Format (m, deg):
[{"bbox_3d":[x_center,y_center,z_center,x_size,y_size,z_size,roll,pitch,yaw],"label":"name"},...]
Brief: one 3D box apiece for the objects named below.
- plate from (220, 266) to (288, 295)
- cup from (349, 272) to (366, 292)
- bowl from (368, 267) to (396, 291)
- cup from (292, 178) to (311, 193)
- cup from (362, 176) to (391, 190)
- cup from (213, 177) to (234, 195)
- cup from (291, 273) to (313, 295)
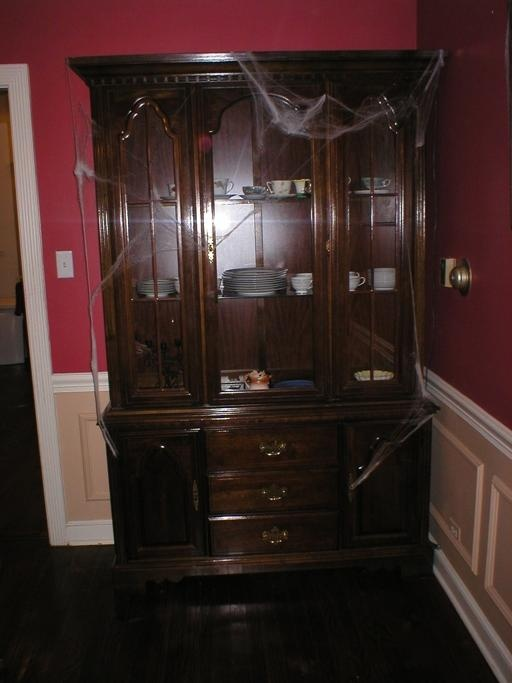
[{"bbox_3d":[-0.012,-0.202,1.999,0.122,0.054,0.129,5,15,22],"label":"plate"},{"bbox_3d":[0.322,-0.195,1.920,0.059,0.047,0.054,1,13,0],"label":"cup"},{"bbox_3d":[0.408,-0.207,1.920,0.075,0.056,0.075,-1,7,0],"label":"bowl"},{"bbox_3d":[0.148,-0.510,1.942,0.048,0.045,0.047,-2,13,0],"label":"cup"},{"bbox_3d":[0.379,-0.499,1.857,0.094,0.040,0.039,-2,9,-4],"label":"cup"},{"bbox_3d":[-0.107,-0.512,1.948,0.079,0.061,0.053,-7,13,-30],"label":"cup"},{"bbox_3d":[0.153,-0.195,1.983,0.066,0.053,0.069,-2,13,0],"label":"cup"}]
